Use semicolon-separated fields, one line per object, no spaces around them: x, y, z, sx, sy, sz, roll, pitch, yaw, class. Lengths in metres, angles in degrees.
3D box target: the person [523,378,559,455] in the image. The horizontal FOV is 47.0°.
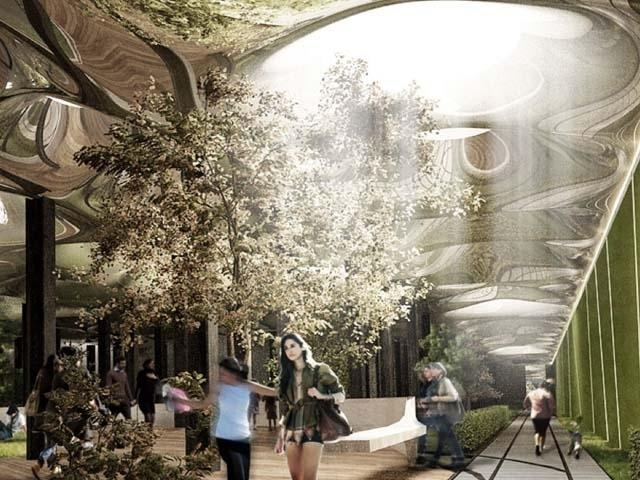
5.144;4.171;17.347;0.652;1.703;1.568;0;-10;17;person
